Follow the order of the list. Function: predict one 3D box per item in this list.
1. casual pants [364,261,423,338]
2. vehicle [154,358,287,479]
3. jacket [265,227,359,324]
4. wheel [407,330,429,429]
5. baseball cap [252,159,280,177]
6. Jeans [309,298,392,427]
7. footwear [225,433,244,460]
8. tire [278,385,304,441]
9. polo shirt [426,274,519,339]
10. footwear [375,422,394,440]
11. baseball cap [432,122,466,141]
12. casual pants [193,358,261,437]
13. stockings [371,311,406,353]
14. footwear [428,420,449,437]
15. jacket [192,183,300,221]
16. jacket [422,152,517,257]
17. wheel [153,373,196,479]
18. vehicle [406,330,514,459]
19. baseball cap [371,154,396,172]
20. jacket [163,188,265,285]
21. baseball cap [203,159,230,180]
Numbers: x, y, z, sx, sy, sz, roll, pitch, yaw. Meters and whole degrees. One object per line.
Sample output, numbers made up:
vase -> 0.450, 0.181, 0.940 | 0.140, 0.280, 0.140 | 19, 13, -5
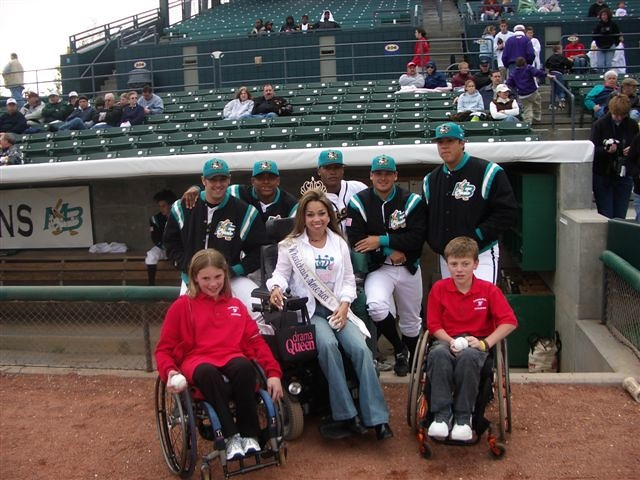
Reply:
casual pants -> 0.792, 0.622, 7.260 | 0.562, 0.303, 0.980 | -7, 37, 0
vehicle -> -1.003, 1.559, 6.181 | 0.939, 1.482, 1.117 | 2, -15, -27
jacket -> -0.066, 0.239, 6.909 | 1.039, 1.116, 0.728 | -1, -4, -12
wheel -> 0.880, 1.235, 6.313 | 0.045, 0.646, 0.508 | -10, -30, 36
baseball cap -> -0.584, -0.748, 7.379 | 0.200, 0.164, 0.300 | 1, 2, -3
Jeans -> 0.271, 1.230, 6.370 | 0.389, 1.398, 0.735 | -12, -36, -6
footwear -> -0.717, 1.744, 5.779 | 0.156, 0.174, 0.133 | -6, 9, -11
tire -> -0.320, 1.703, 6.564 | 0.125, 0.422, 0.385 | -4, 22, -41
polo shirt -> 1.402, 0.610, 6.457 | 0.779, 0.634, 0.388 | -2, 4, 14
footwear -> 0.584, 1.771, 6.322 | 0.154, 0.216, 0.170 | -4, 9, 6
baseball cap -> 1.348, -1.096, 7.052 | 0.265, 0.192, 0.373 | 6, 19, 26
casual pants -> -0.796, 1.378, 5.898 | 0.531, 0.643, 0.299 | -7, 9, -13
stockings -> 0.808, 0.953, 7.250 | 0.430, 0.120, 0.471 | -3, 35, -35
footwear -> 1.031, 1.672, 5.999 | 0.183, 0.165, 0.127 | -4, 9, 5
jacket -> -0.722, -0.368, 7.596 | 0.878, 0.370, 1.204 | 8, 4, 20
jacket -> 1.467, -0.362, 7.286 | 1.004, 1.065, 0.498 | -4, -7, 35
wheel -> -1.263, 1.649, 6.017 | 0.179, 0.952, 0.873 | -2, 4, -28
vehicle -> 1.321, 1.507, 6.635 | 0.871, 1.444, 1.102 | 1, -9, 11
baseball cap -> 0.647, -0.782, 7.170 | 0.240, 0.168, 0.297 | -4, 9, 4
jacket -> -1.039, -0.036, 7.053 | 0.880, 0.869, 0.424 | 3, 4, -1
baseball cap -> -1.091, -0.721, 7.094 | 0.220, 0.185, 0.318 | -2, 2, -19
